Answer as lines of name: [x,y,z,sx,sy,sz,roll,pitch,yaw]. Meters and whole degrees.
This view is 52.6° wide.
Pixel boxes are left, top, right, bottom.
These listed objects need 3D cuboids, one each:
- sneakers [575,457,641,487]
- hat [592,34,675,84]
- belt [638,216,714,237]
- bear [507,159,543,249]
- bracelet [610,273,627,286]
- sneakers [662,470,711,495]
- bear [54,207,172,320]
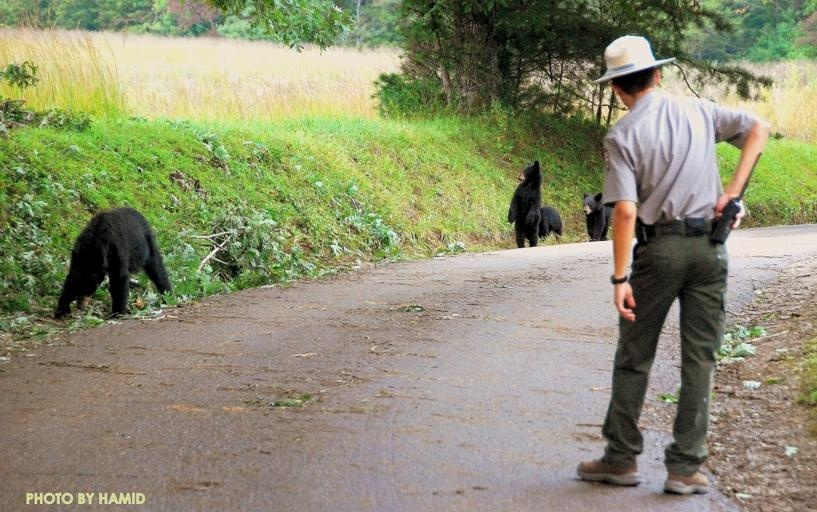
sneakers: [2.022,2.188,8.465,0.638,0.262,0.253,5,0,10]
hat: [2.159,-2.058,8.640,0.666,0.220,0.650,-4,18,26]
belt: [2.695,-0.298,8.406,0.713,0.189,0.108,0,11,9]
bear: [2.848,-1.252,20.394,0.808,2.204,1.130,-1,11,7]
bracelet: [2.183,0.244,8.609,0.296,0.102,0.310,-1,2,19]
sneakers: [2.774,2.259,8.369,0.467,0.259,0.194,-4,9,-12]
bear: [-4.745,0.039,13.065,1.218,1.530,2.544,10,6,10]
